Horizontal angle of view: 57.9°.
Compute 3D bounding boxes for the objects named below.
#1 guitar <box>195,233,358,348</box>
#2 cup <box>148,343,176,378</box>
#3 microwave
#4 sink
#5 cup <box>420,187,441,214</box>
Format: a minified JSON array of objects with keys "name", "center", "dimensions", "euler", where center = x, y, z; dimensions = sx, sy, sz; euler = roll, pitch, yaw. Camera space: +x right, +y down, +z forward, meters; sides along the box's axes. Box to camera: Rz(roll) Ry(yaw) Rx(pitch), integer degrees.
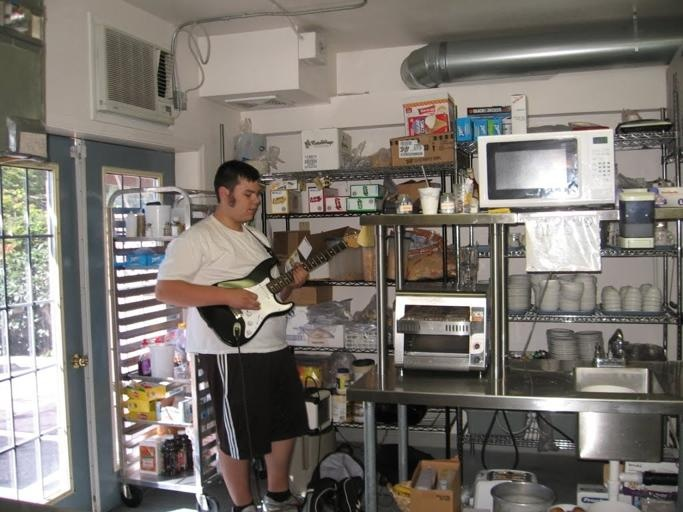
[{"name":"guitar","center":[-0.371,0.208,3.595],"dimensions":[0.771,0.271,0.109],"euler":[-32,4,-32]},{"name":"cup","center":[-1.126,0.645,3.874],"dimensions":[0.185,0.201,0.186],"euler":[0,-2,0]},{"name":"microwave","center":[0.944,-0.363,2.879],"dimensions":[0.584,0.356,0.339],"euler":[-1,-8,15]},{"name":"sink","center":[1.146,0.622,2.582],"dimensions":[0.305,0.232,0.302],"euler":[-4,-31,21]},{"name":"cup","center":[0.397,-0.251,2.880],"dimensions":[0.117,0.114,0.119],"euler":[-1,-2,0]}]
